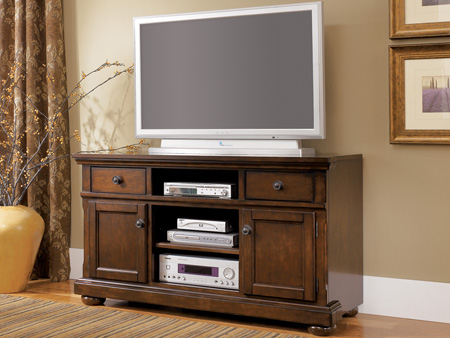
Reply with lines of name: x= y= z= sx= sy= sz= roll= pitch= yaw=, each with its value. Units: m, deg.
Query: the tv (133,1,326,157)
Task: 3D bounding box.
tv: x=0.061 y=-0.547 z=2.795 sx=1.037 sy=0.718 sz=0.269 roll=1 pitch=2 yaw=20
